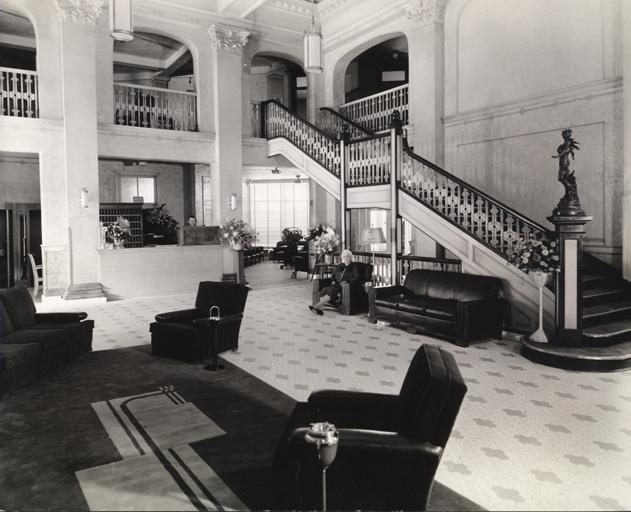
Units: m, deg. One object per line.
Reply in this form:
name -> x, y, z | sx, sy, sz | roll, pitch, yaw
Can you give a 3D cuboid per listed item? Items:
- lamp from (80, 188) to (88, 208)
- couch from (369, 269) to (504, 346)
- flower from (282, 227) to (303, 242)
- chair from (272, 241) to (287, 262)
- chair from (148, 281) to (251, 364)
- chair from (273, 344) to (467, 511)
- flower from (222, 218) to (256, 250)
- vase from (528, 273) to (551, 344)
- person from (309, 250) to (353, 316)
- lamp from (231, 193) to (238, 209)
lamp -> -5.209, -1.309, 11.752 | 0.180, 0.446, 0.131 | -4, 9, -24
couch -> 2.004, 0.789, 8.605 | 0.946, 1.025, 1.976 | -8, 12, -41
flower -> -0.771, -0.706, 17.851 | 0.579, 0.410, 0.642 | 6, 3, 33
chair -> -1.425, -0.159, 20.383 | 0.761, 1.032, 0.736 | 1, 0, 4
chair -> -1.706, 0.920, 7.707 | 1.081, 1.071, 1.192 | 0, 2, 32
chair -> 0.458, 1.408, 4.543 | 1.417, 1.448, 1.125 | 3, 1, 5
flower -> -1.916, -0.529, 13.034 | 0.697, 0.488, 0.700 | 10, 15, -29
vase -> 3.201, 0.681, 7.478 | 0.284, 0.983, 0.646 | 4, 10, 24
person -> 0.300, 0.513, 10.354 | 0.536, 0.953, 1.367 | 6, 21, 41
lamp -> -2.144, -1.422, 13.711 | 0.160, 0.406, 0.074 | -4, 9, -25
